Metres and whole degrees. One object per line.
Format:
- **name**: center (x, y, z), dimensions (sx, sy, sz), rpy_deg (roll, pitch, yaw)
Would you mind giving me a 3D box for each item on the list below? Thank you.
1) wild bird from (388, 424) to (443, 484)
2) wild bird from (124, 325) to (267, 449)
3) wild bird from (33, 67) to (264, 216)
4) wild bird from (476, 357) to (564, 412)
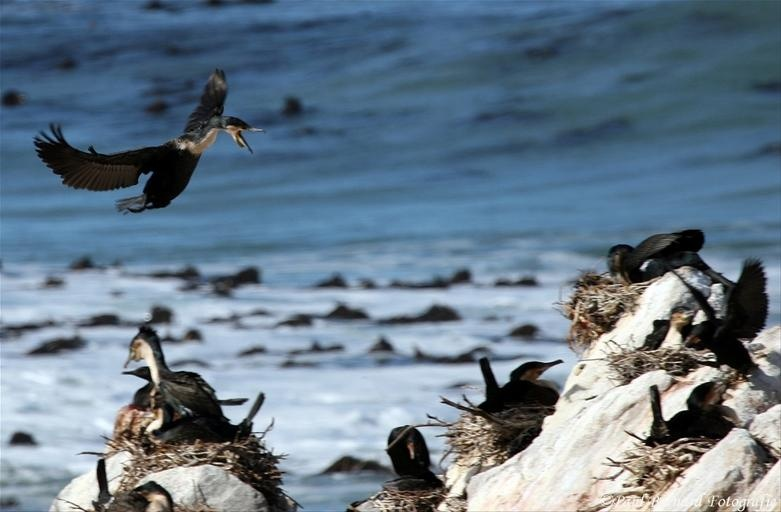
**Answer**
- **wild bird**: center (0.196, 1.790, 13.149), dimensions (0.420, 0.525, 0.308), rpy_deg (-10, -11, 4)
- **wild bird**: center (-1.861, 1.123, 13.177), dimensions (1.078, 1.097, 0.566), rpy_deg (-14, -11, 32)
- **wild bird**: center (-2.252, -0.999, 13.273), dimensions (1.720, 1.342, 0.667), rpy_deg (-2, -13, -26)
- **wild bird**: center (1.077, 1.097, 12.658), dimensions (0.719, 0.460, 0.364), rpy_deg (-5, -10, -8)
